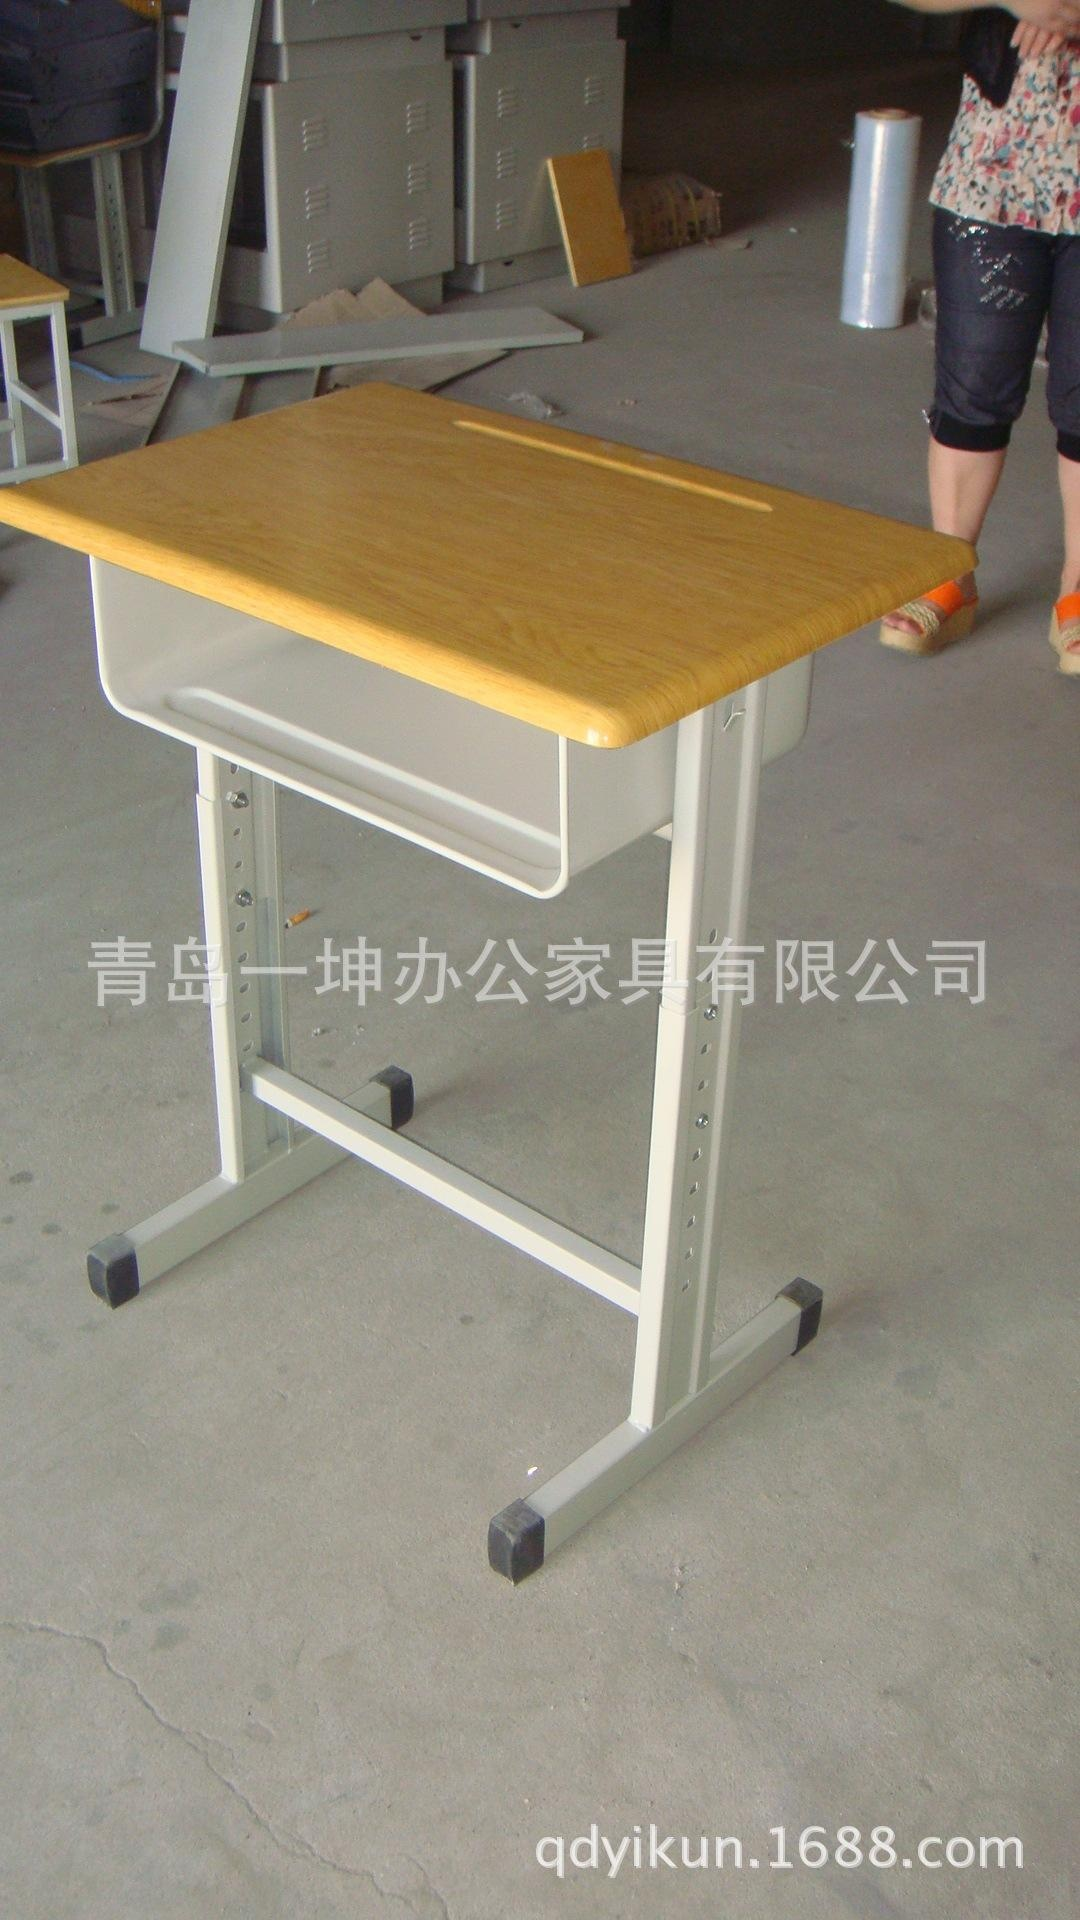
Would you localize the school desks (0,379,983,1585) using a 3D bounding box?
[{"bbox_3d":[-0.055,0.009,1.320,0.711,0.837,0.520,23,36,36],"label":"school desks"}]
